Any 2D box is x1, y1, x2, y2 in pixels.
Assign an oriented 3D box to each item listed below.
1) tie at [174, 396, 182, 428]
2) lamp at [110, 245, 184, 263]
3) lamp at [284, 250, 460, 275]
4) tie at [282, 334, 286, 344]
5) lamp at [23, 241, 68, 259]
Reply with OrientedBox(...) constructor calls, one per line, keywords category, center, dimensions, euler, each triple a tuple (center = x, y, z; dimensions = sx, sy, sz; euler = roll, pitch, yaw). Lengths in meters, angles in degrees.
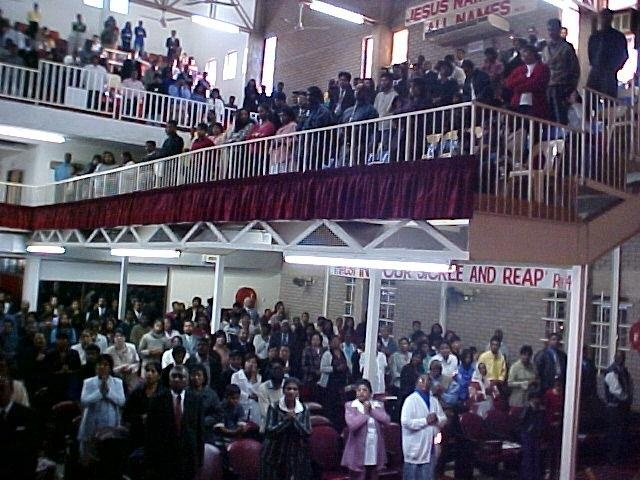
OrientedBox(category="tie", center=(-2.140, 2.569, 9.810), dimensions=(0.109, 0.417, 0.127), euler=(4, -7, -17))
OrientedBox(category="lamp", center=(-4.916, 0.385, 18.072), dimensions=(2.130, 0.351, 0.170), euler=(7, -7, 19))
OrientedBox(category="lamp", center=(0.771, 0.362, 11.217), dimensions=(3.188, 0.331, 0.555), euler=(-3, -8, 37))
OrientedBox(category="tie", center=(-0.877, 2.426, 15.834), dimensions=(0.057, 0.250, 0.071), euler=(19, -33, -21))
OrientedBox(category="lamp", center=(-9.034, 0.212, 21.355), dimensions=(1.077, 0.448, 3.258), euler=(5, -8, -26))
